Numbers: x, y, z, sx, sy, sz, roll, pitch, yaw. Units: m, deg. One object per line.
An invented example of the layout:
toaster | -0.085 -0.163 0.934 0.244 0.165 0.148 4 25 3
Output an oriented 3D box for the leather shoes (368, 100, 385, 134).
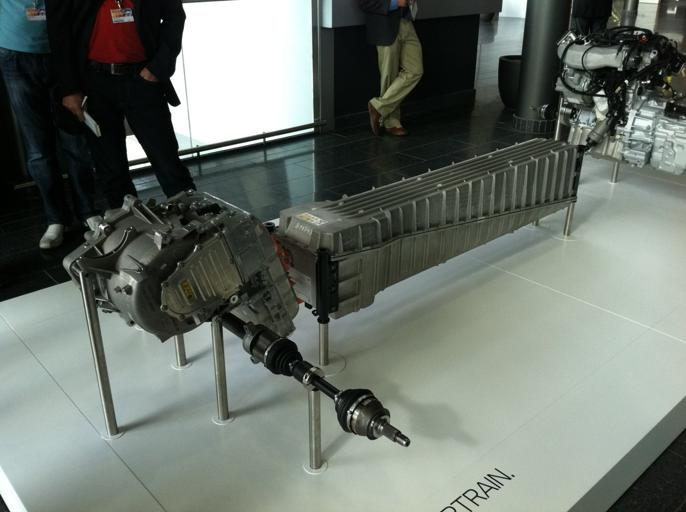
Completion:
leather shoes | 0.421 -1.798 6.633 0.184 0.455 0.152 -3 20 7

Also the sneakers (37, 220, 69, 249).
sneakers | -2.450 -0.171 4.286 0.118 0.138 0.340 0 23 -9

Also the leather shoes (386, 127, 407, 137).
leather shoes | 0.695 -1.605 6.669 0.243 0.100 0.129 12 38 25
